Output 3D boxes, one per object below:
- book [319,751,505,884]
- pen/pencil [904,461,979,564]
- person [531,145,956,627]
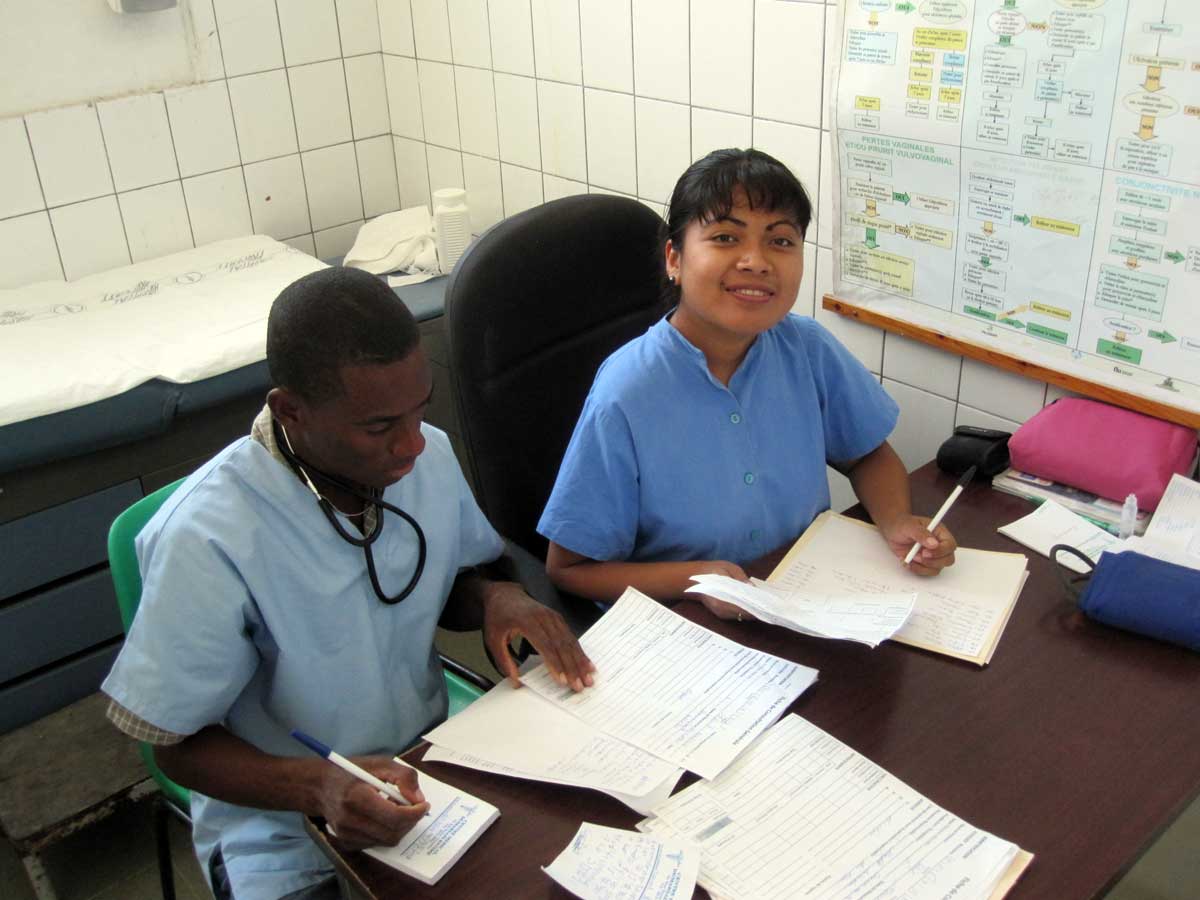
[{"bbox_3d":[-0.200,0.462,1.059,0.127,0.041,0.116,16,29,24],"label":"book"},{"bbox_3d":[0.599,0.118,1.529,0.021,0.019,0.193,32,72,9],"label":"pen/pencil"},{"bbox_3d":[0.251,-0.104,1.530,0.783,0.793,0.548,-13,28,-19],"label":"person"}]
